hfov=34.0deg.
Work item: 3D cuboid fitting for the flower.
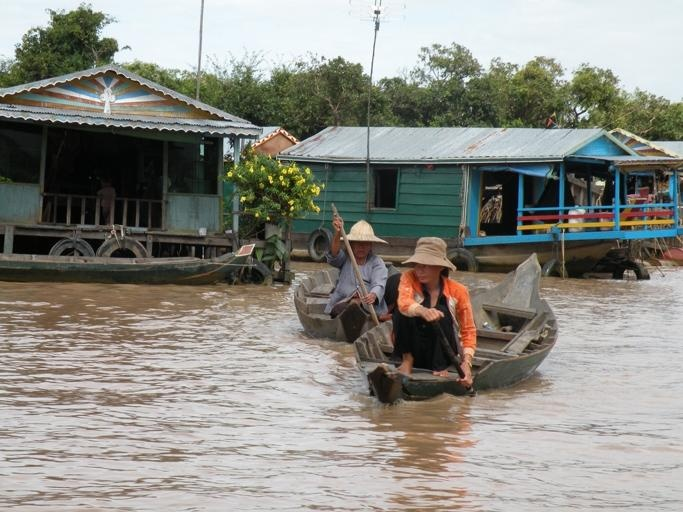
[{"bbox_3d":[-1.251,-1.053,21.220,1.663,1.089,1.375,-6,4,7],"label":"flower"}]

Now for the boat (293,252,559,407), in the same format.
[{"bbox_3d":[1.909,1.049,14.480,2.158,0.711,2.790,6,12,23],"label":"boat"}]

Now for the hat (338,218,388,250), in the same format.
[{"bbox_3d":[0.265,-0.303,15.759,0.588,0.241,0.562,2,0,-13],"label":"hat"}]

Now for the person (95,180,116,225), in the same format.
[{"bbox_3d":[-4.530,-1.055,21.509,0.322,0.977,2.259,1,0,-12],"label":"person"}]

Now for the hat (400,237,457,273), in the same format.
[{"bbox_3d":[1.044,-0.021,13.308,0.476,0.239,0.462,4,5,0],"label":"hat"}]

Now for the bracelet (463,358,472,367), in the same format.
[{"bbox_3d":[1.485,1.275,13.255,0.088,0.040,0.109,0,9,-1],"label":"bracelet"}]
